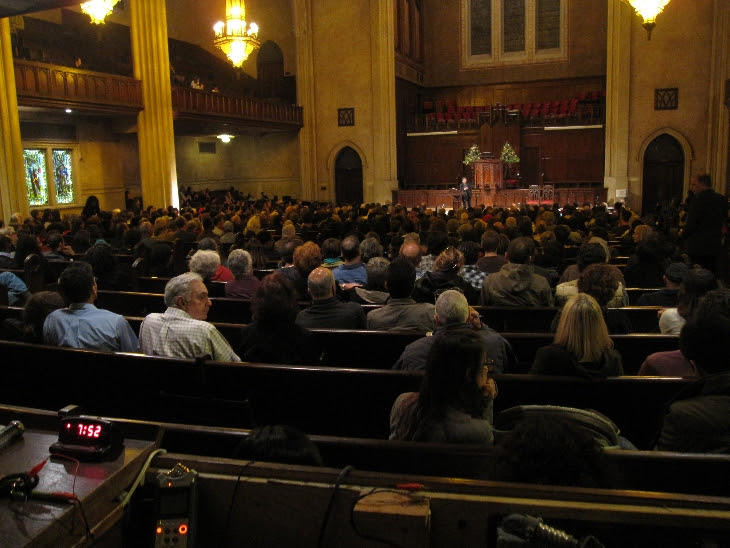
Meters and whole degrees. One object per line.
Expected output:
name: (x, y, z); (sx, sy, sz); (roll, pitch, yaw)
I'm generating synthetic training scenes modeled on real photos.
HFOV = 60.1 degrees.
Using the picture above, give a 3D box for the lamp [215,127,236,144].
lamp: (-5.955, -5.855, 26.882); (0.750, 0.280, 0.738); (0, -2, -39)

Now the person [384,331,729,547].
person: (1.023, 0.761, 2.958); (1.032, 0.244, 0.972); (3, 6, 28)
